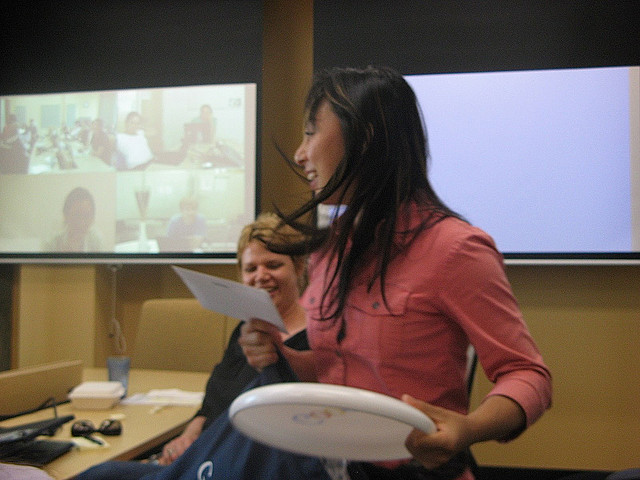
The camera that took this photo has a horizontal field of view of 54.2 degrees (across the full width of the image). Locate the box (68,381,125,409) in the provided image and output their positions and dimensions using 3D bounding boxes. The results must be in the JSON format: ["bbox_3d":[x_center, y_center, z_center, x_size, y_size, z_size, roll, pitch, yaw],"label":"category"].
[{"bbox_3d":[-1.100,0.756,3.064,0.146,0.059,0.148,1,-1,-2],"label":"box"}]

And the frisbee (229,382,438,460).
[{"bbox_3d":[0.051,0.620,2.093,0.461,0.076,0.358,8,-30,0],"label":"frisbee"}]

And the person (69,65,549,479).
[{"bbox_3d":[0.149,0.135,2.294,1.230,1.569,0.589,-3,6,-10],"label":"person"}]
